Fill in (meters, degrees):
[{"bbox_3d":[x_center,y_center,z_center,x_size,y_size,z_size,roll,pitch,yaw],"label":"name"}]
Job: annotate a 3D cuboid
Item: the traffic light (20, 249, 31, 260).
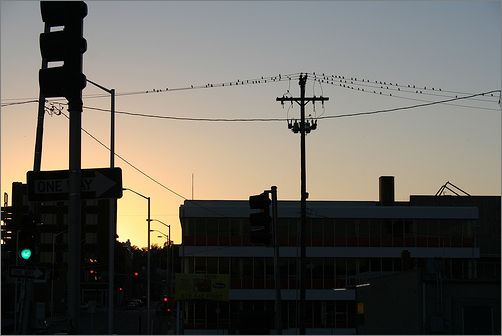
[{"bbox_3d":[-15.074,5.629,65.224,0.638,0.694,0.215,1,2,-3],"label":"traffic light"}]
